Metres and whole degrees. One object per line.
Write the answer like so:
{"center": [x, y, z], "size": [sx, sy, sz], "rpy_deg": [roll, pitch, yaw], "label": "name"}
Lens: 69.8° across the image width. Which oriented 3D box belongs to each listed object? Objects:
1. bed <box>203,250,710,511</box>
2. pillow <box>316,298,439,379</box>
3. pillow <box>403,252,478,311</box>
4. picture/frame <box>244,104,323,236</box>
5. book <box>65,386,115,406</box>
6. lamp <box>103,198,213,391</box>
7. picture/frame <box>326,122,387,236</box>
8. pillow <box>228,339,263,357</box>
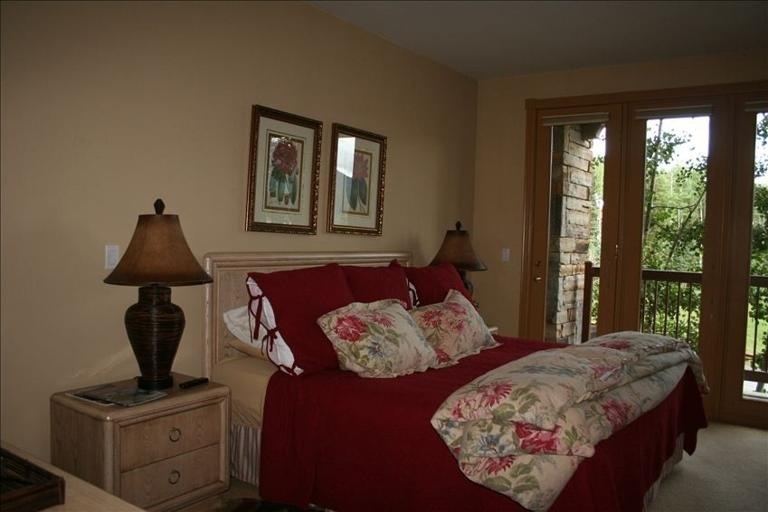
{"center": [-0.022, 0.666, 3.676], "size": [1.996, 1.292, 2.047], "rpy_deg": [0, 1, 27], "label": "bed"}
{"center": [-0.019, 0.534, 3.425], "size": [0.687, 0.378, 0.366], "rpy_deg": [-3, 5, -30], "label": "pillow"}
{"center": [0.432, 0.203, 4.299], "size": [0.375, 0.153, 0.367], "rpy_deg": [-8, 36, -22], "label": "pillow"}
{"center": [-0.731, -0.612, 4.052], "size": [0.079, 0.912, 0.653], "rpy_deg": [4, 7, 42], "label": "picture/frame"}
{"center": [-1.632, 0.783, 3.056], "size": [0.212, 0.029, 0.335], "rpy_deg": [-2, 5, -28], "label": "book"}
{"center": [-1.265, 0.231, 3.118], "size": [0.496, 1.097, 0.292], "rpy_deg": [1, 5, 14], "label": "lamp"}
{"center": [-0.224, -0.612, 4.580], "size": [0.074, 0.893, 0.676], "rpy_deg": [4, 6, 39], "label": "picture/frame"}
{"center": [-0.905, 0.620, 3.650], "size": [0.151, 0.045, 0.148], "rpy_deg": [21, -8, 26], "label": "pillow"}
